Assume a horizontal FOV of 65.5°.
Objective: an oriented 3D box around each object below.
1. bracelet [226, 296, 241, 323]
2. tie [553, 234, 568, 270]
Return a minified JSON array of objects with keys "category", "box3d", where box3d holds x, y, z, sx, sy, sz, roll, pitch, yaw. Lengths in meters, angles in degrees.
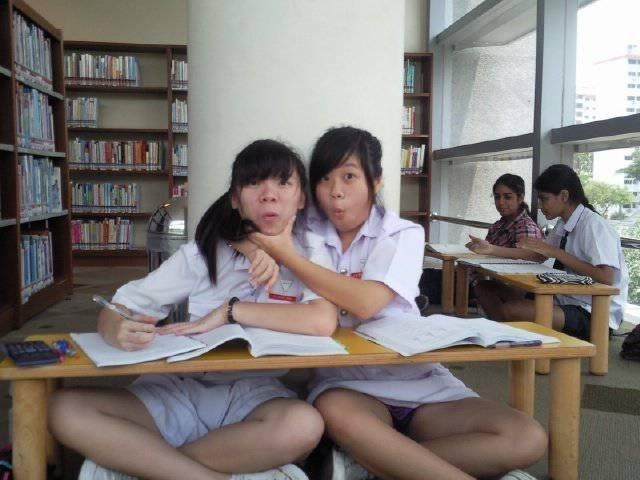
[{"category":"bracelet","box3d":[-0.255,0.195,1.398,0.039,0.059,0.056,11,-10,-6]},{"category":"tie","box3d":[1.449,0.067,2.969,0.059,0.193,0.147,7,7,17]}]
